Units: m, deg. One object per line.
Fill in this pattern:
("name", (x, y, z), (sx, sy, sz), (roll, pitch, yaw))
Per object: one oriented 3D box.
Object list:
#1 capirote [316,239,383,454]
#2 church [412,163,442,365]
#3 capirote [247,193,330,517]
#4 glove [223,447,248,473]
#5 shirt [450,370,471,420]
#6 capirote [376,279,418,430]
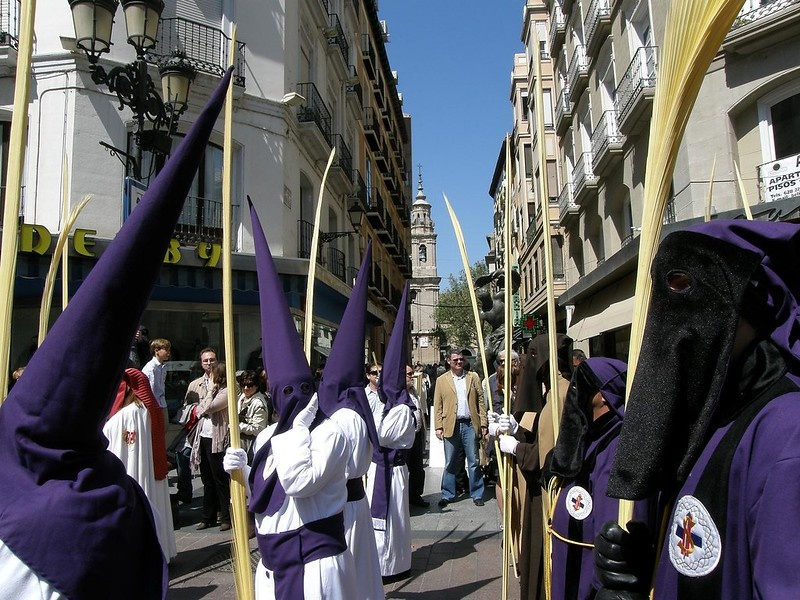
("capirote", (-0.342, 0.327, 5.387), (0.376, 1.142, 0.361), (4, -7, 39))
("church", (2.443, -3.204, 84.891), (5.259, 21.046, 5.664), (5, -9, -25))
("capirote", (-0.814, 0.102, 4.859), (0.271, 1.459, 0.304), (-14, -1, 34))
("glove", (-0.981, 0.966, 4.495), (0.085, 0.188, 0.207), (7, -14, -25))
("shirt", (0.809, 1.301, 9.944), (0.241, 0.571, 0.125), (-1, -13, 4))
("capirote", (-0.007, 0.394, 7.704), (0.271, 1.230, 0.336), (6, -8, 17))
